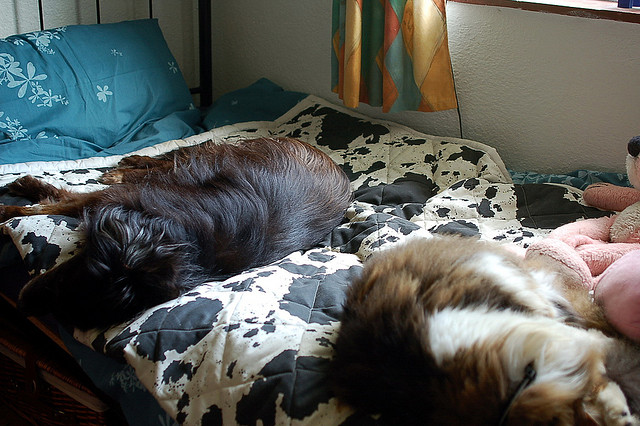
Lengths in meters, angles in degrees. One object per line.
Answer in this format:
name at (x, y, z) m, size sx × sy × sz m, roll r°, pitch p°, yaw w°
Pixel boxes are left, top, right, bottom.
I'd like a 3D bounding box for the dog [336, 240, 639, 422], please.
dog at (0.382, 0.286, 1.117) m, size 0.673 × 0.315 × 0.376 m, roll 7°, pitch 27°, yaw 11°
